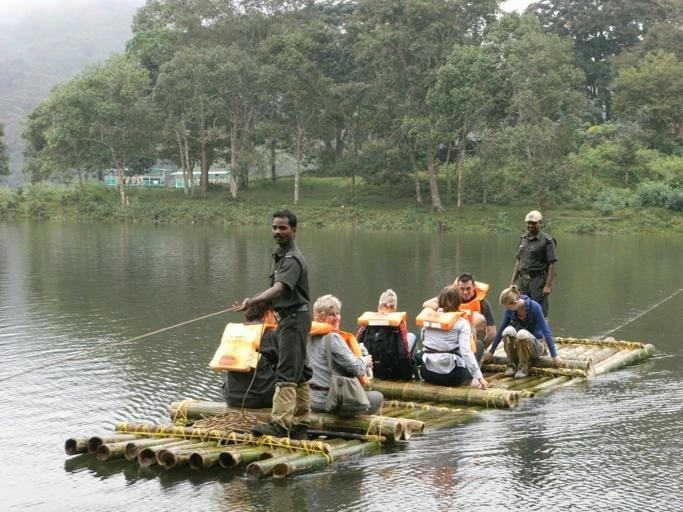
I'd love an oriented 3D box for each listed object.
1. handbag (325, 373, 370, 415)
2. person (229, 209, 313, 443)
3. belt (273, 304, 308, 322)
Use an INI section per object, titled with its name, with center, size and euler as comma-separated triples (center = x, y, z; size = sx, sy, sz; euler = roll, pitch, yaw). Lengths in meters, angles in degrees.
[handbag]
center = 0.087, 2.430, 15.413
size = 0.703, 0.599, 0.391
euler = 8, -19, -32
[person]
center = -0.913, 1.203, 14.957
size = 0.712, 3.861, 0.900
euler = 7, 11, 31
[belt]
center = -0.849, 0.961, 14.993
size = 0.443, 0.119, 0.324
euler = -12, -11, 0
